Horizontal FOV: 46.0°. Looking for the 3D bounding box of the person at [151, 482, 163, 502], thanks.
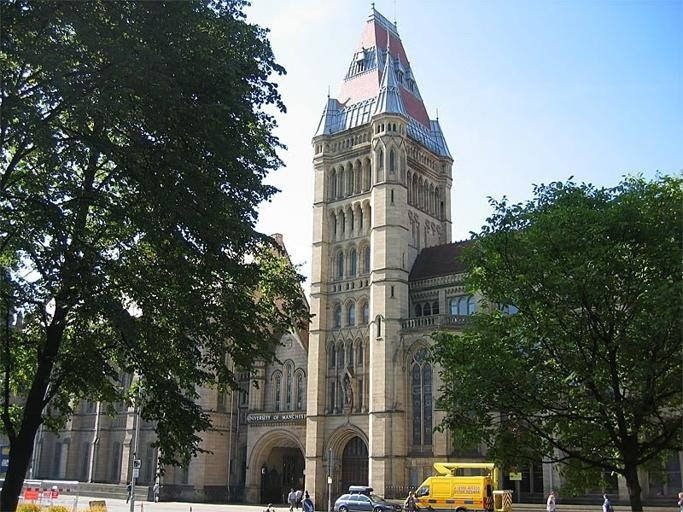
[{"bbox_3d":[-12.750,16.436,55.841,0.543,1.485,1.717,5,-22,-12],"label":"person"}]
